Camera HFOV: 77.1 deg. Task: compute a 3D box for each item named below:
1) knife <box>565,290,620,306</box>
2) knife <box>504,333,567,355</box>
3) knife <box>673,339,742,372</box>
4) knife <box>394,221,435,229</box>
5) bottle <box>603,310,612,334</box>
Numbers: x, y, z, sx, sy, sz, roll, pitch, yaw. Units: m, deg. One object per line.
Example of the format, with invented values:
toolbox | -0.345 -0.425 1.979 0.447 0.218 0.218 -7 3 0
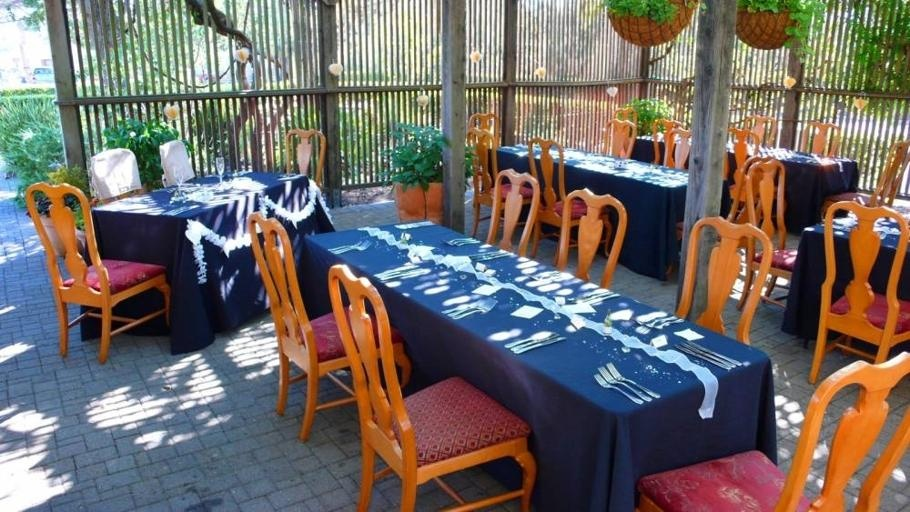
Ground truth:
knife | 1.053 0.318 4.308 0.235 0.033 0.162 -11 15 -22
knife | 0.546 0.579 3.822 0.313 0.043 0.158 -12 26 -27
knife | 1.643 0.648 3.682 0.444 0.022 0.134 16 31 40
knife | -0.415 -0.301 5.671 0.260 0.021 0.109 -8 21 -26
bottle | 1.073 0.459 3.945 0.056 0.123 0.141 3 19 15
